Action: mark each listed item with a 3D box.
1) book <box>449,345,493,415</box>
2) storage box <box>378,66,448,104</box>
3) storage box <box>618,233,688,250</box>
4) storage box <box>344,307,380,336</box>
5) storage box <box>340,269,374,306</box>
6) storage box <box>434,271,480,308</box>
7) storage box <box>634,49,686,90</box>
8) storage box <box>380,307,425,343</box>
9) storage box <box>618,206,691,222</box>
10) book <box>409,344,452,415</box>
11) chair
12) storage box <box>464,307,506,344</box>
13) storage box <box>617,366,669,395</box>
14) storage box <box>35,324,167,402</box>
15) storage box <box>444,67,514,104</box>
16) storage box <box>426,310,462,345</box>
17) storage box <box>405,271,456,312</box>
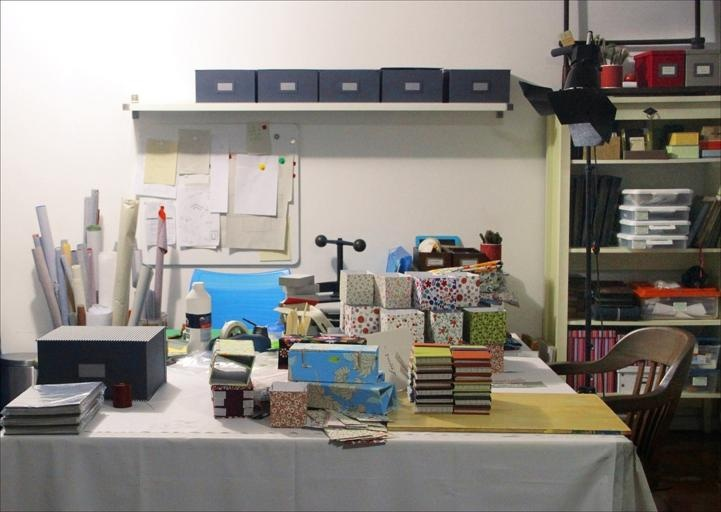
[{"bbox_3d":[0.497,0.570,4.335,0.203,0.290,0.382,0,8,4],"label":"book"},{"bbox_3d":[0.322,-0.965,5.848,0.438,0.236,0.347,1,-19,2],"label":"storage box"},{"bbox_3d":[1.768,-0.084,5.687,0.414,0.098,0.137,-1,7,7],"label":"storage box"},{"bbox_3d":[0.009,0.314,4.661,0.139,0.151,0.145,1,3,15],"label":"storage box"},{"bbox_3d":[-0.020,0.165,4.739,0.159,0.168,0.163,1,-1,-10],"label":"storage box"},{"bbox_3d":[0.503,0.168,4.701,0.162,0.175,0.168,0,8,-2],"label":"storage box"},{"bbox_3d":[1.867,-1.133,5.727,0.338,0.207,0.337,-11,11,-13],"label":"storage box"},{"bbox_3d":[0.208,0.324,4.527,0.156,0.111,0.163,0,5,-4],"label":"storage box"},{"bbox_3d":[1.758,-0.251,5.656,0.395,0.094,0.140,0,8,15],"label":"storage box"},{"bbox_3d":[0.327,0.569,4.338,0.215,0.280,0.376,0,2,1],"label":"book"},{"bbox_3d":[1.297,0.591,4.862,0.581,0.887,0.619,3,2,-4],"label":"chair"},{"bbox_3d":[0.605,0.350,4.604,0.165,0.138,0.173,0,5,7],"label":"storage box"},{"bbox_3d":[1.526,0.681,5.106,0.242,0.180,0.154,-1,-3,0],"label":"storage box"},{"bbox_3d":[-1.265,0.496,4.431,0.438,0.221,0.346,2,5,-23],"label":"storage box"},{"bbox_3d":[0.718,-1.024,5.720,0.214,0.160,0.308,0,2,-5],"label":"storage box"},{"bbox_3d":[0.418,0.358,4.656,0.147,0.155,0.152,0,4,-6],"label":"storage box"},{"bbox_3d":[0.359,0.186,4.671,0.145,0.144,0.296,-1,3,-4],"label":"storage box"}]
